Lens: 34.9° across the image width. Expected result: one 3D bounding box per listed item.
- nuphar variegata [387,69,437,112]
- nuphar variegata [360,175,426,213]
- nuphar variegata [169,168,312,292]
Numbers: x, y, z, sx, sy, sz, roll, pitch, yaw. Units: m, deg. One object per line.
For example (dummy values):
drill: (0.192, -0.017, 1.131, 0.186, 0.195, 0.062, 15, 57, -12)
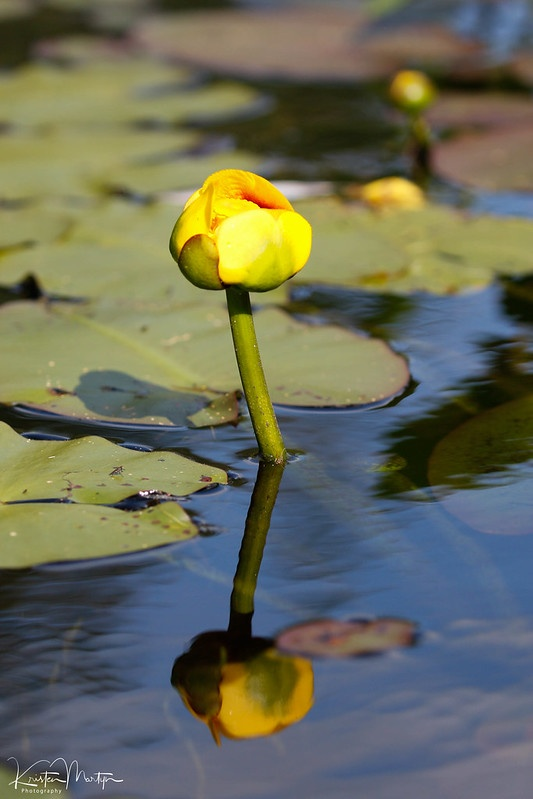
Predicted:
nuphar variegata: (0.287, -0.617, 1.680, 0.099, 0.082, 0.051, -3, -6, 16)
nuphar variegata: (0.240, -0.383, 1.587, 0.090, 0.050, 0.097, 1, 14, -20)
nuphar variegata: (-0.020, -0.135, 0.683, 0.115, 0.097, 0.080, -5, 34, -5)
